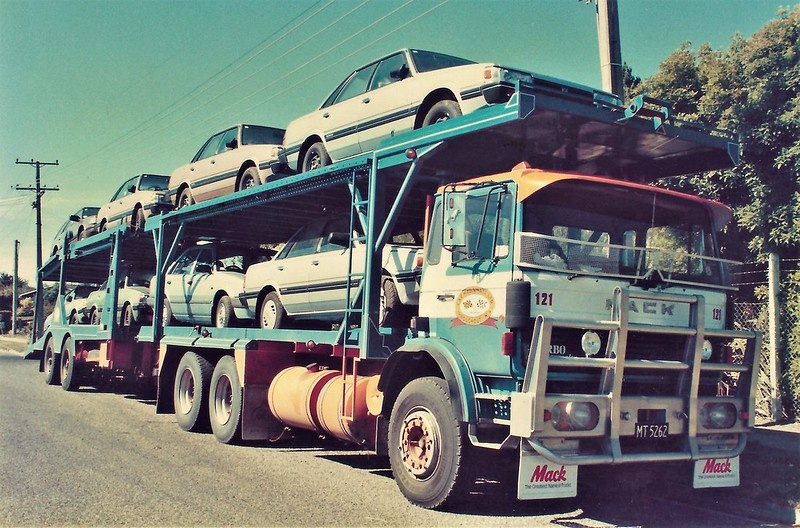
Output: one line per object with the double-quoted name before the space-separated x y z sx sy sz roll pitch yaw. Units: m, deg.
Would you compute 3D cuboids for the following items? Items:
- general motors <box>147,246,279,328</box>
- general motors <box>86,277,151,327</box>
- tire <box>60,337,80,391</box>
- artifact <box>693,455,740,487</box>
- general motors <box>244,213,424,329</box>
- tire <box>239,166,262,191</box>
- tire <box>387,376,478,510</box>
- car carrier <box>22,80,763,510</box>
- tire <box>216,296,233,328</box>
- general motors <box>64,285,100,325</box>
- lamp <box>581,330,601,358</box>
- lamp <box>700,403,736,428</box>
"general motors" -3.737 0.386 14.713 1.518 1.250 2.468 9 -12 -43
"general motors" -6.993 1.014 18.074 1.288 1.268 2.673 4 0 -40
"tire" -8.812 2.665 18.607 0.301 1.235 1.190 5 -5 -20
"artifact" 4.109 2.683 9.059 0.851 0.370 0.094 3 -4 -27
"general motors" -1.090 0.109 11.236 1.549 1.323 2.919 12 -20 -43
"tire" -2.957 -1.702 13.988 0.240 0.692 0.660 2 -4 -38
"tire" 0.407 2.322 9.194 0.301 1.676 1.274 5 -4 -43
"car carrier" -3.467 0.792 17.465 5.270 5.934 22.504 6 -8 -33
"tire" -3.398 0.948 13.696 0.205 0.605 0.578 1 1 -32
"general motors" -9.580 1.188 21.003 0.790 0.641 1.457 3 0 -32
"lamp" 2.283 0.958 8.384 0.258 0.297 0.061 3 -3 -20
"lamp" 4.075 1.937 8.977 0.565 0.308 0.084 3 -4 -26
